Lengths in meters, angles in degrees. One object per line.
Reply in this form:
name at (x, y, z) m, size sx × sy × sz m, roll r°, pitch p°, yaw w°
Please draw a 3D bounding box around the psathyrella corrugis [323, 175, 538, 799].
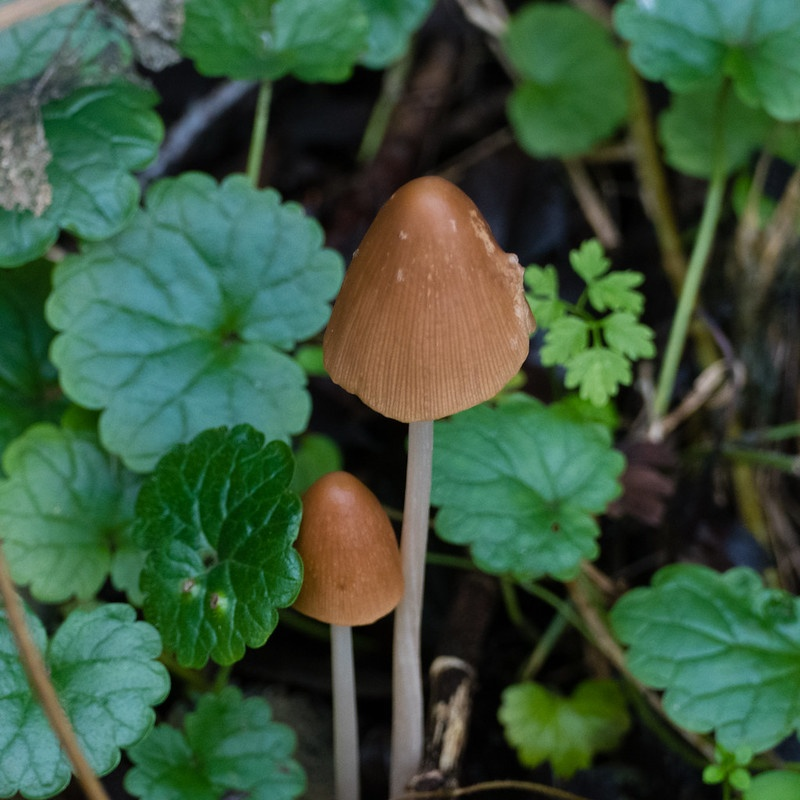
psathyrella corrugis at (0.012, 0.089, 1.060) m, size 0.187 × 0.643 × 0.300 m, roll 17°, pitch 38°, yaw 15°
